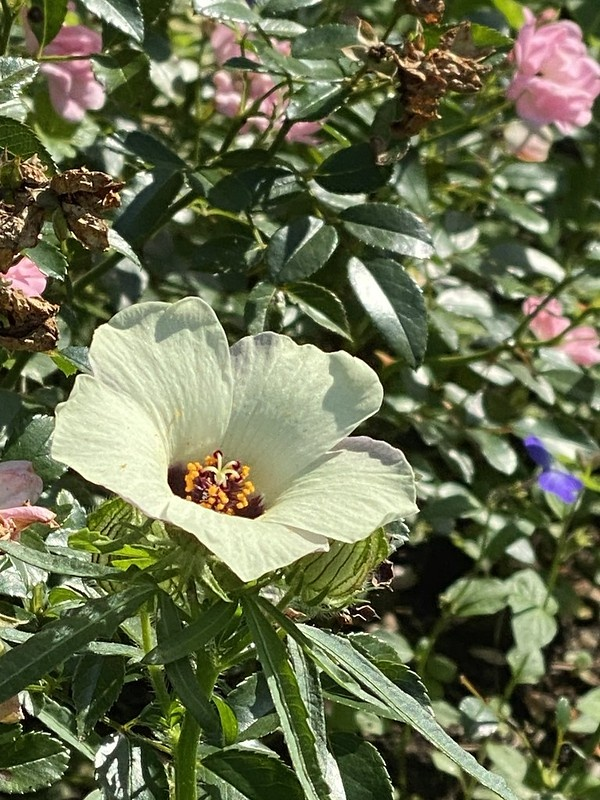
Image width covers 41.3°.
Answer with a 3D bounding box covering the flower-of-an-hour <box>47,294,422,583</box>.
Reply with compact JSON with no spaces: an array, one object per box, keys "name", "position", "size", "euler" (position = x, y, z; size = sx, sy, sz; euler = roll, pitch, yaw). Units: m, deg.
[{"name":"flower-of-an-hour","position":[-0.060,0.050,0.643],"size":[0.273,0.147,0.267],"euler":[6,42,-14]}]
